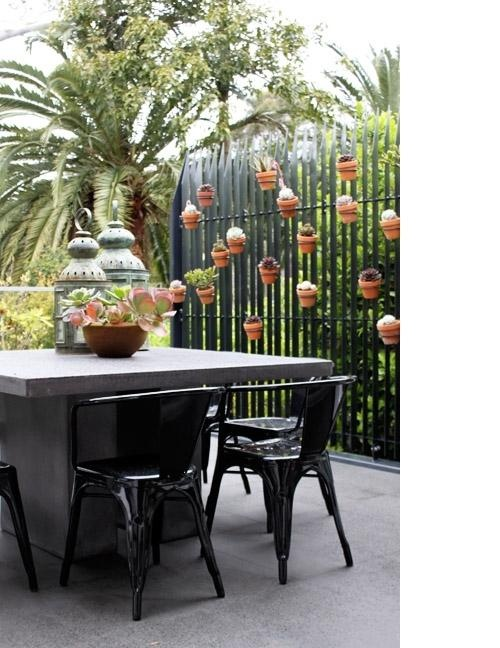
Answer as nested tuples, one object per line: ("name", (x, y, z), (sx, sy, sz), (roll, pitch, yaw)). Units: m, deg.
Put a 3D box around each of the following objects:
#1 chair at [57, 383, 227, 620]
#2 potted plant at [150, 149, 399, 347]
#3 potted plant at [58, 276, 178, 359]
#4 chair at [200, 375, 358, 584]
("chair", (-0.385, 0.558, 2.294), (0.502, 0.713, 0.676), (0, -1, -24))
("potted plant", (0.339, -0.633, 5.259), (0.753, 1.748, 2.542), (0, -1, -39))
("potted plant", (-0.509, -0.017, 2.755), (0.418, 0.300, 0.428), (5, 6, 19))
("chair", (0.245, 0.511, 2.782), (0.632, 0.947, 0.691), (-4, 7, -43))
